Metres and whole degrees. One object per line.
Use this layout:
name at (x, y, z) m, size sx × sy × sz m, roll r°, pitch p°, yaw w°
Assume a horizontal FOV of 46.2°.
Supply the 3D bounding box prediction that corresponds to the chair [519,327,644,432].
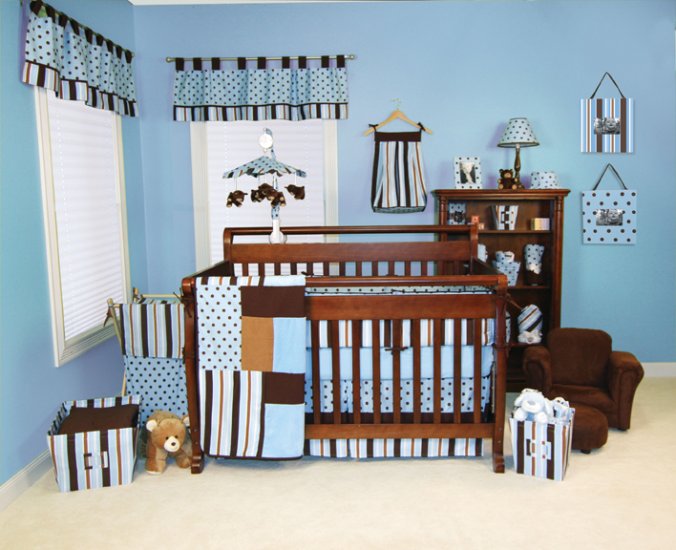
chair at (1.514, 0.637, 4.913) m, size 0.690 × 0.581 × 0.456 m, roll 4°, pitch 6°, yaw 22°

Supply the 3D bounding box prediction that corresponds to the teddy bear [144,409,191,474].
teddy bear at (-0.983, 0.869, 4.494) m, size 0.266 × 0.336 × 0.463 m, roll 0°, pitch 30°, yaw -12°

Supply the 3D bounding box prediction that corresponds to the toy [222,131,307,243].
toy at (-0.450, -0.533, 5.052) m, size 0.557 × 0.852 × 0.743 m, roll 0°, pitch 2°, yaw 3°

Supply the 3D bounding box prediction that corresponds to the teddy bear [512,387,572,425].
teddy bear at (1.120, 0.708, 4.316) m, size 0.336 × 0.149 × 0.278 m, roll 3°, pitch 9°, yaw 14°

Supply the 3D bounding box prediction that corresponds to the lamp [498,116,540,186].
lamp at (1.218, -0.828, 5.379) m, size 0.239 × 0.452 × 0.250 m, roll 1°, pitch 5°, yaw 14°

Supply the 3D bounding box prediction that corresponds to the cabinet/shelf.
cabinet/shelf at (1.184, 0.074, 5.404) m, size 0.733 × 1.517 × 0.374 m, roll -10°, pitch 4°, yaw -3°

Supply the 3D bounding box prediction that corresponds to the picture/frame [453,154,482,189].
picture/frame at (0.888, -0.707, 5.490) m, size 0.230 × 0.317 × 0.022 m, roll 0°, pitch 1°, yaw 0°

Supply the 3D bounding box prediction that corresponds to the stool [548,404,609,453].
stool at (1.418, 0.899, 4.574) m, size 0.266 × 0.191 × 0.286 m, roll 0°, pitch -28°, yaw 23°

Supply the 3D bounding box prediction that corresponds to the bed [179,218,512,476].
bed at (0.025, 0.319, 5.105) m, size 1.765 × 1.288 × 1.875 m, roll 1°, pitch 9°, yaw 0°
